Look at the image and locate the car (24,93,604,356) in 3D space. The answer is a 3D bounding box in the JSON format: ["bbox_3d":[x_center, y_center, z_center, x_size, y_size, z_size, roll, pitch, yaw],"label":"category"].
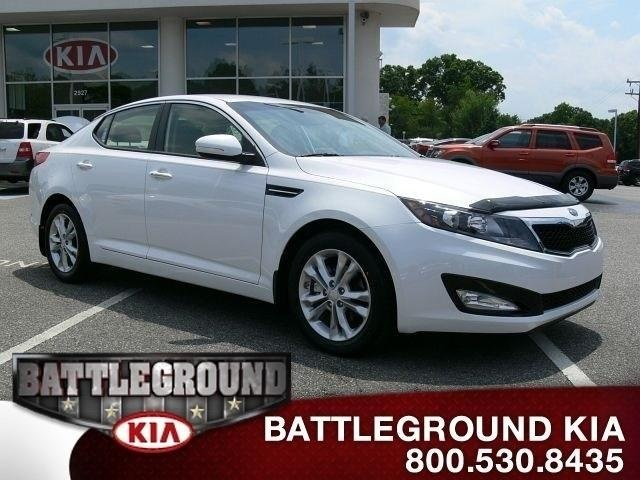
[{"bbox_3d":[-0.510,-0.388,4.884,5.638,1.901,1.812,8,13,32],"label":"car"}]
